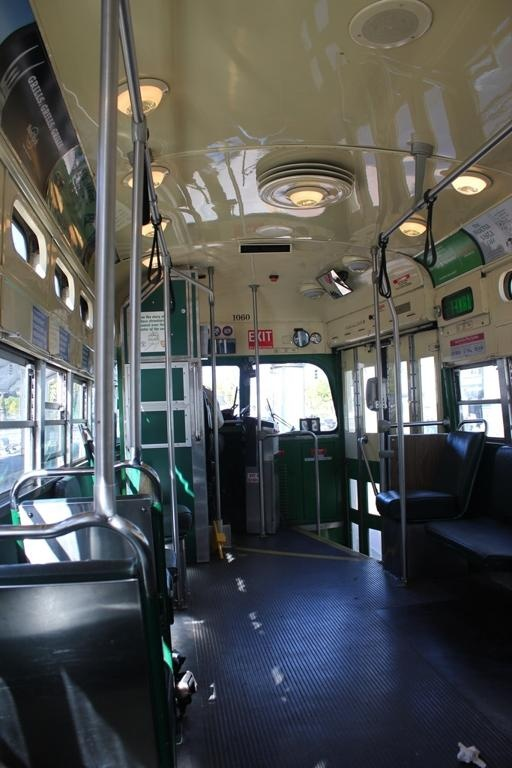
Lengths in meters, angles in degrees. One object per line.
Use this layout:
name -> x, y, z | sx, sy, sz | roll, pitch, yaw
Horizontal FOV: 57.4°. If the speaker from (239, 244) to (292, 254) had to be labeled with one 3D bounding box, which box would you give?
speaker -> 0.083, -1.419, 4.825 | 0.524, 0.088, 0.221 | -1, -7, -10
